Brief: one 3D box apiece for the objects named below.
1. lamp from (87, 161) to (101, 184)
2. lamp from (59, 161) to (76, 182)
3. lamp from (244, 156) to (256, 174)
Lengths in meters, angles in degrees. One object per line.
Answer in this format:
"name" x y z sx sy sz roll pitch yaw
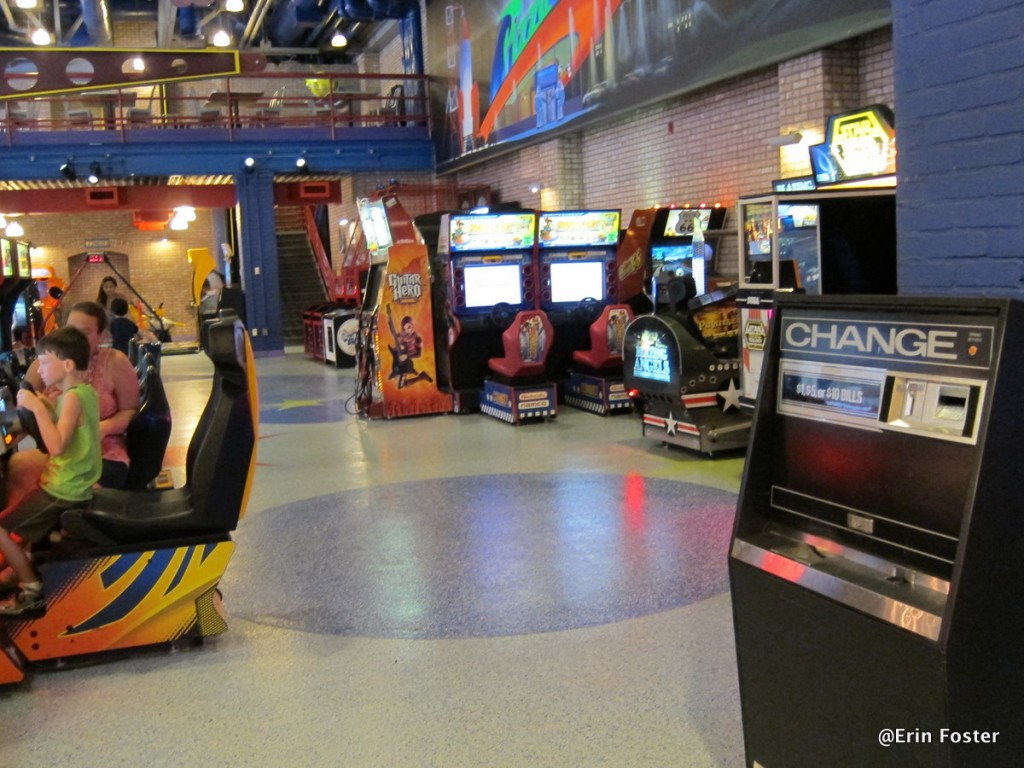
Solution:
"lamp" -7.848 -4.011 13.897 0.236 0.372 0.390 -7 10 -29
"lamp" -8.266 -4.022 13.746 0.268 0.338 0.528 -7 10 -30
"lamp" -5.217 -4.416 14.755 0.166 0.252 0.245 5 12 -19
